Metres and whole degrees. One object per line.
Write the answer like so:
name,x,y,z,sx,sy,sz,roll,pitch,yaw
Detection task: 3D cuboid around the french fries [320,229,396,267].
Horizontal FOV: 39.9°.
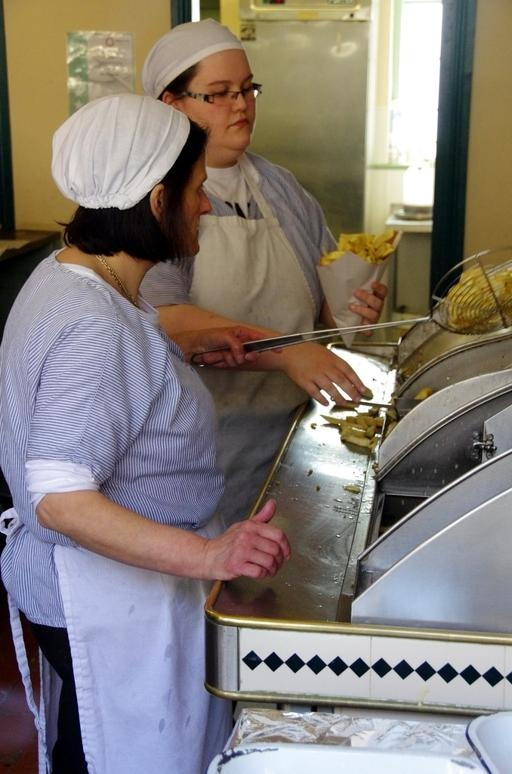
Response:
french fries,0.231,-0.297,1.498,0.104,0.048,0.123,-29,17,19

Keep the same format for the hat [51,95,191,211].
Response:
hat,-0.160,-0.278,0.838,0.167,0.130,0.115,-3,20,-9
